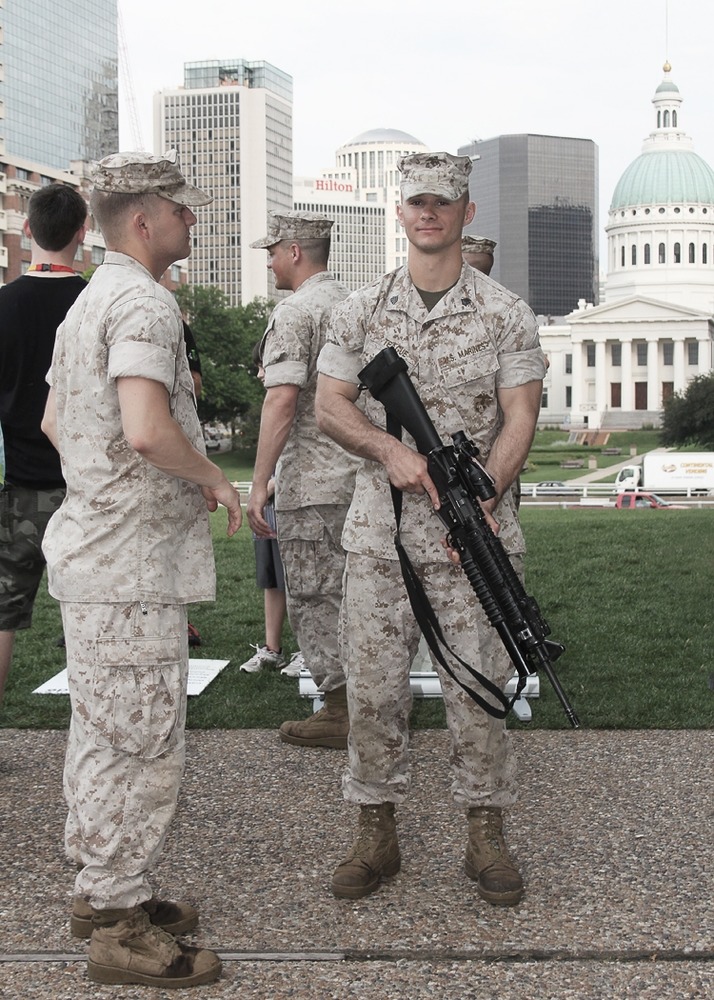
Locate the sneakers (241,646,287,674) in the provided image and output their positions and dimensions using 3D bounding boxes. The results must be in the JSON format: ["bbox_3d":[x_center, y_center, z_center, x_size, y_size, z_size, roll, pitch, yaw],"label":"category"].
[{"bbox_3d":[-0.565,0.956,7.248,0.289,0.108,0.110,7,-10,-43],"label":"sneakers"}]

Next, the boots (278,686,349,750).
[{"bbox_3d":[-0.215,1.011,5.665,0.453,0.266,0.177,15,-7,-44],"label":"boots"}]

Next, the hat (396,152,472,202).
[{"bbox_3d":[0.256,-1.083,4.014,0.243,0.179,0.333,0,8,3],"label":"hat"}]

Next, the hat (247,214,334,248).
[{"bbox_3d":[-0.289,-1.305,5.810,0.295,0.088,0.195,-6,13,4],"label":"hat"}]

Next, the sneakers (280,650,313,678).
[{"bbox_3d":[-0.339,0.972,7.100,0.144,0.145,0.370,-1,-7,6],"label":"sneakers"}]

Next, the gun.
[{"bbox_3d":[0.369,0.134,3.828,0.310,1.236,0.826,-9,12,-37],"label":"gun"}]

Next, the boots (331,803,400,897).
[{"bbox_3d":[0.022,1.135,3.988,0.150,0.263,0.348,1,5,31],"label":"boots"}]

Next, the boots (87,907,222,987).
[{"bbox_3d":[-0.485,1.211,3.294,0.454,0.213,0.157,1,2,-5],"label":"boots"}]

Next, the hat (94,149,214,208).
[{"bbox_3d":[-0.596,-0.938,3.519,0.291,0.087,0.162,2,21,-9],"label":"hat"}]

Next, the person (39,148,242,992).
[{"bbox_3d":[-0.616,0.147,3.425,0.569,2.263,0.789,-2,10,-5],"label":"person"}]
